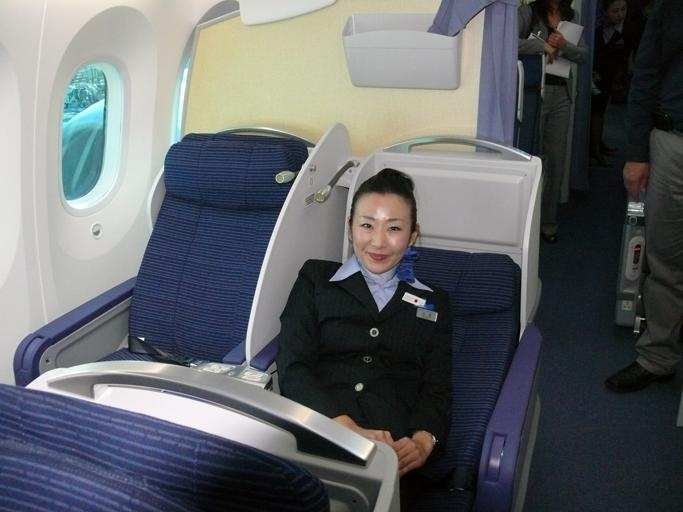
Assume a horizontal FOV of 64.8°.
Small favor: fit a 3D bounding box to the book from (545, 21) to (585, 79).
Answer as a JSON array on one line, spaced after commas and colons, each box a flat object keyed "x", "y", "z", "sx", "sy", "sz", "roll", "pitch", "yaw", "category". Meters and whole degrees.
[{"x": 1.705, "y": -1.572, "z": 4.103, "sx": 0.370, "sy": 0.403, "sz": 0.169, "roll": -2, "pitch": 10, "yaw": -11, "category": "book"}]
